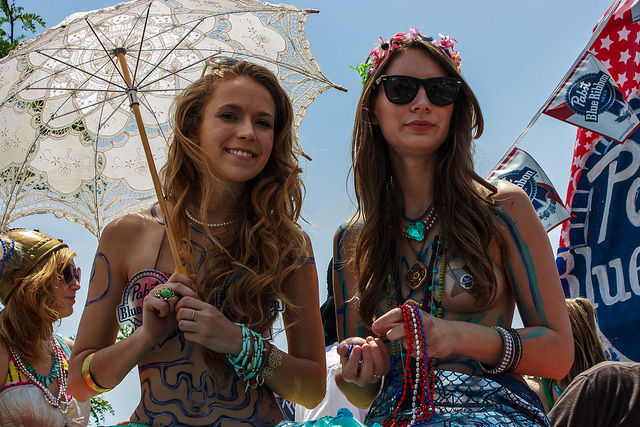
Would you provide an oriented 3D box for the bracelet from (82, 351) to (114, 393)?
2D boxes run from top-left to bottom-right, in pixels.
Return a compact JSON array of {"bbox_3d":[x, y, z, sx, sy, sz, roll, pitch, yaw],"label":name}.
[{"bbox_3d":[-1.798,1.257,5.675,0.232,0.324,0.102,12,-26,-26],"label":"bracelet"}]

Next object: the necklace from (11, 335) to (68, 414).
[{"bbox_3d":[-2.699,1.520,6.819,0.278,0.939,0.058,-29,9,-35],"label":"necklace"}]

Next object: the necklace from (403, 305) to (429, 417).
[{"bbox_3d":[0.688,1.054,5.197,0.027,0.715,0.201,-4,-7,-41],"label":"necklace"}]

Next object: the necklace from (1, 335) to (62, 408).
[{"bbox_3d":[-2.778,1.445,6.668,0.036,0.694,0.510,-25,5,21],"label":"necklace"}]

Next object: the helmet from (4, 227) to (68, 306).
[{"bbox_3d":[-2.795,0.534,6.831,0.608,0.591,0.481,-24,-7,-21],"label":"helmet"}]

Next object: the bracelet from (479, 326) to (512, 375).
[{"bbox_3d":[1.331,1.016,5.285,0.092,0.316,0.252,15,-18,-37],"label":"bracelet"}]

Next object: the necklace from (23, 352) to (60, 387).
[{"bbox_3d":[-2.703,1.492,6.797,0.005,0.347,0.335,-22,-4,25],"label":"necklace"}]

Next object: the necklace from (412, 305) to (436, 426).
[{"bbox_3d":[0.752,1.107,5.169,0.204,0.793,0.052,-11,-9,33],"label":"necklace"}]

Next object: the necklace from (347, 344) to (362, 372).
[{"bbox_3d":[0.247,1.090,5.382,0.050,0.161,0.147,-9,-38,6],"label":"necklace"}]
